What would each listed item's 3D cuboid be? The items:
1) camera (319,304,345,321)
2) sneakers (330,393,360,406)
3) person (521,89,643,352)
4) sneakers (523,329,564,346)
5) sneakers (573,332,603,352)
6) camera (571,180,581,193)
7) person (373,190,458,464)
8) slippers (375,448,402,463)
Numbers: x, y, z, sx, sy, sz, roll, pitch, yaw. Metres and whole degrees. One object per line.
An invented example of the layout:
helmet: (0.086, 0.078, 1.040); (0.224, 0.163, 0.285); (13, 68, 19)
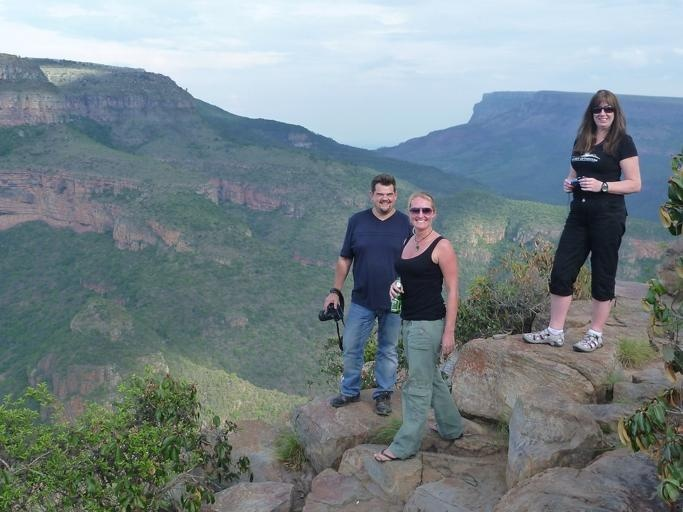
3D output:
camera: (-0.104, 0.601, 6.002); (0.238, 0.236, 0.158); (-3, -6, 27)
sneakers: (0.040, 1.547, 6.106); (0.277, 0.134, 0.119); (1, 5, -9)
person: (2.292, -0.286, 5.186); (0.695, 2.363, 0.433); (9, 14, 26)
sneakers: (1.971, 0.778, 5.488); (0.392, 0.183, 0.155); (5, 16, 13)
sneakers: (2.327, 0.811, 5.330); (0.343, 0.144, 0.123); (-3, 1, -45)
camera: (2.140, -0.634, 5.144); (0.063, 0.110, 0.051); (0, 8, -2)
person: (0.754, 0.643, 4.967); (0.724, 2.359, 0.622); (5, 13, 11)
slippers: (0.405, 1.763, 5.005); (0.194, 0.053, 0.108); (5, 8, 3)
